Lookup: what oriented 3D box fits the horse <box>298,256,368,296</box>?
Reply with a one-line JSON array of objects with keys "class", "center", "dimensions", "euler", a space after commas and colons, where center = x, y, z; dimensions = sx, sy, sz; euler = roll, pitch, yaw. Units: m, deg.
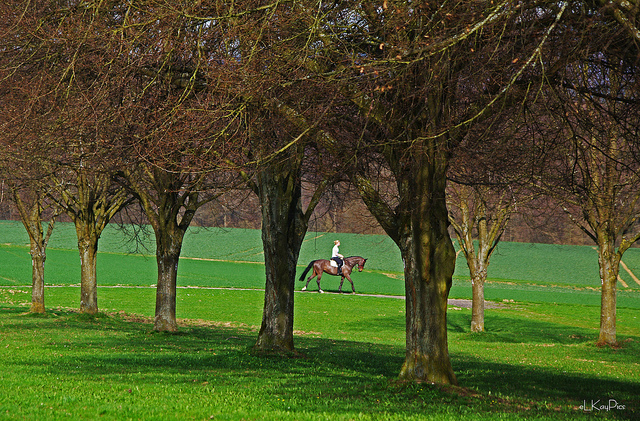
[{"class": "horse", "center": [1.034, 4.884, 93.232], "dimensions": [4.345, 2.779, 12.865], "euler": [1, -4, 1]}]
